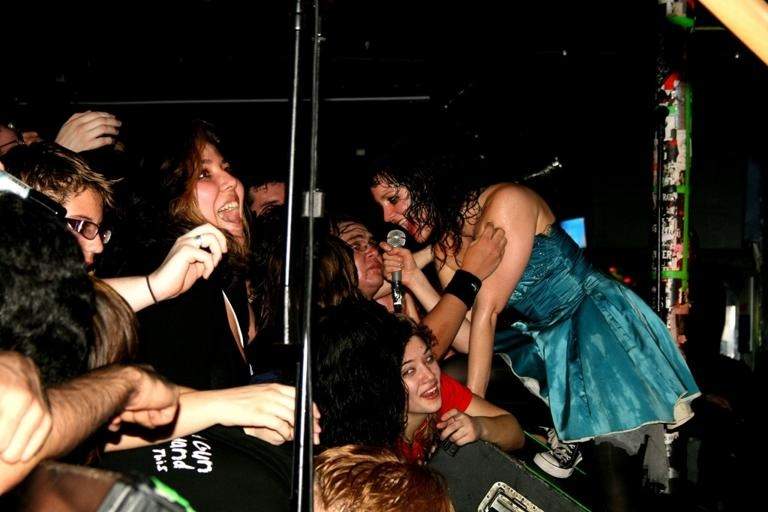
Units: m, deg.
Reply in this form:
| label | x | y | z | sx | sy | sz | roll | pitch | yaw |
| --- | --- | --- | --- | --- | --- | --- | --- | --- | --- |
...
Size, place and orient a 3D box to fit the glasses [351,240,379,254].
| label | x | y | z | sx | sy | sz | roll | pitch | yaw |
| --- | --- | --- | --- | --- | --- | --- | --- | --- | --- |
| glasses | -0.134 | -0.066 | 4.616 | 0.099 | 0.032 | 0.101 | 5 | -23 | -31 |

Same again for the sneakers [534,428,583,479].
| label | x | y | z | sx | sy | sz | roll | pitch | yaw |
| --- | --- | --- | --- | --- | --- | --- | --- | --- | --- |
| sneakers | 1.029 | 1.222 | 4.452 | 0.120 | 0.139 | 0.324 | -17 | 9 | 9 |

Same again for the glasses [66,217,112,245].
| label | x | y | z | sx | sy | sz | roll | pitch | yaw |
| --- | --- | --- | --- | --- | --- | --- | --- | --- | --- |
| glasses | -1.543 | -0.143 | 3.735 | 0.155 | 0.047 | 0.161 | 10 | -11 | 25 |
